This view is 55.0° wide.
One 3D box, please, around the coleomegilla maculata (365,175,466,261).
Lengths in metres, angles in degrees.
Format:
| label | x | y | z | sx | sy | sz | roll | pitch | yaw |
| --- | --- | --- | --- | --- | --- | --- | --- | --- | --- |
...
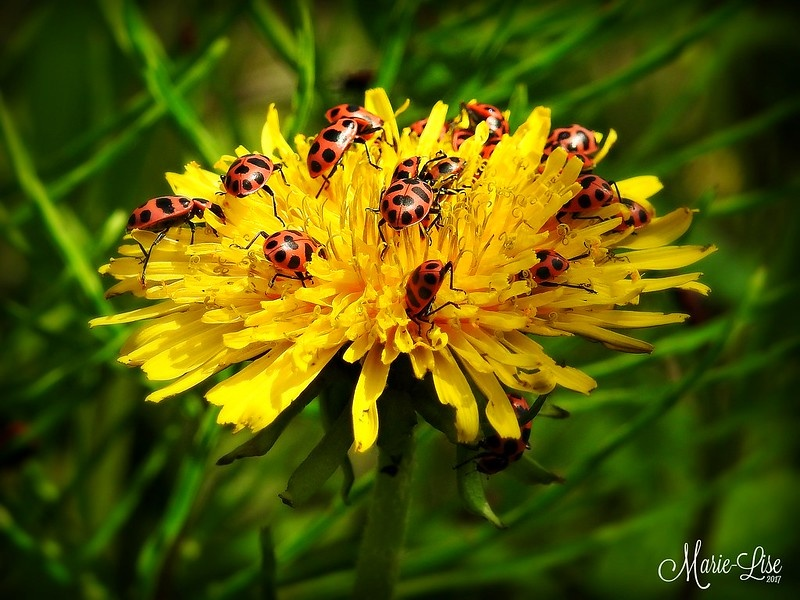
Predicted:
| label | x | y | z | sx | sy | sz | roll | pitch | yaw |
| --- | --- | --- | --- | --- | --- | --- | --- | --- | --- |
| coleomegilla maculata | 0.017 | -0.111 | 1.196 | 0.116 | 0.039 | 0.120 | 0 | 70 | 12 |

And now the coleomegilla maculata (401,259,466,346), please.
| label | x | y | z | sx | sy | sz | roll | pitch | yaw |
| --- | --- | --- | --- | --- | --- | --- | --- | --- | --- |
| coleomegilla maculata | 0.039 | 0.000 | 1.131 | 0.100 | 0.032 | 0.100 | 36 | 106 | 36 |

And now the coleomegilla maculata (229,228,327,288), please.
| label | x | y | z | sx | sy | sz | roll | pitch | yaw |
| --- | --- | --- | --- | --- | --- | --- | --- | --- | --- |
| coleomegilla maculata | -0.176 | -0.062 | 1.158 | 0.150 | 0.140 | 0.046 | -16 | 69 | 51 |

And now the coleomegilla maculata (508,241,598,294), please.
| label | x | y | z | sx | sy | sz | roll | pitch | yaw |
| --- | --- | --- | --- | --- | --- | --- | --- | --- | --- |
| coleomegilla maculata | 0.238 | -0.050 | 1.158 | 0.105 | 0.040 | 0.144 | -43 | 29 | -26 |

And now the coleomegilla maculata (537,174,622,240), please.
| label | x | y | z | sx | sy | sz | roll | pitch | yaw |
| --- | --- | --- | --- | --- | --- | --- | --- | --- | --- |
| coleomegilla maculata | 0.282 | -0.133 | 1.208 | 0.099 | 0.033 | 0.092 | -38 | 51 | 20 |
